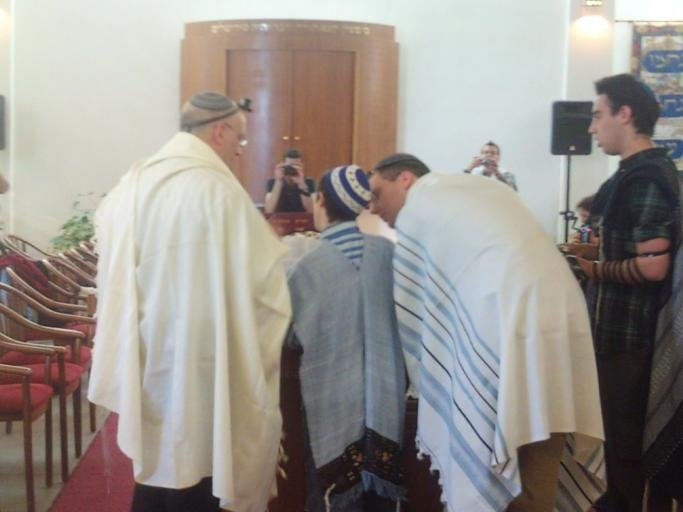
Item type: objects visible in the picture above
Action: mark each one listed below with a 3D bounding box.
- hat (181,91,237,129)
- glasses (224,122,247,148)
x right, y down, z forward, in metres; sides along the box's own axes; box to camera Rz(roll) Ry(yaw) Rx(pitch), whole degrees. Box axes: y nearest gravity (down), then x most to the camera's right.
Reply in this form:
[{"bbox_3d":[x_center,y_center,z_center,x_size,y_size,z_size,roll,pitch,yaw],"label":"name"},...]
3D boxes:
[{"bbox_3d":[-0.611,-0.707,3.759,0.158,0.136,0.217,5,15,25],"label":"hat"},{"bbox_3d":[-0.519,-0.591,3.777,0.028,0.103,0.096,-32,-14,4],"label":"glasses"}]
